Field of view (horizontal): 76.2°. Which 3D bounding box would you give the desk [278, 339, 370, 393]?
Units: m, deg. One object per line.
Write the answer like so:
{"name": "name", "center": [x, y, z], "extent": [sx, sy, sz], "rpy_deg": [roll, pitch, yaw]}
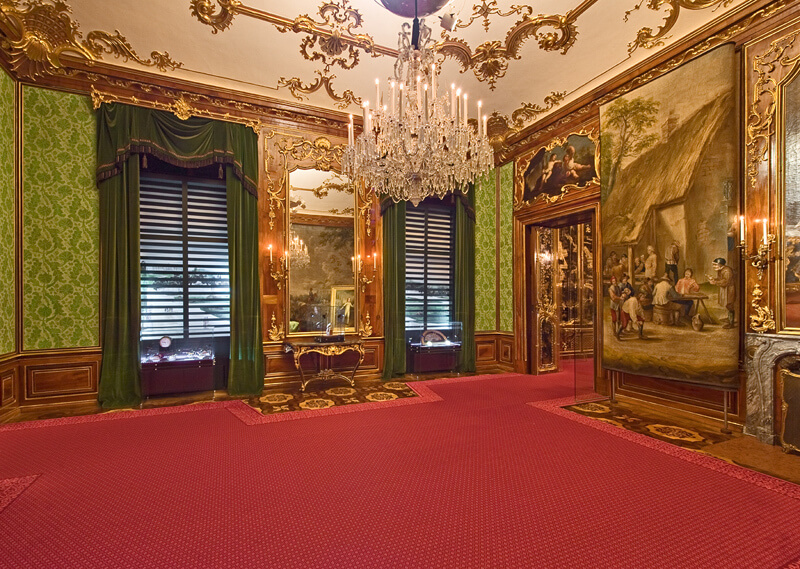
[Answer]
{"name": "desk", "center": [-1.005, 1.082, 7.390], "extent": [1.113, 0.703, 0.629], "rpy_deg": [-1, 10, -13]}

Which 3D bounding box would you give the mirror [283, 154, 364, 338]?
{"name": "mirror", "center": [-1.153, -0.354, 7.602], "extent": [1.111, 2.819, 0.137], "rpy_deg": [-5, 32, -18]}

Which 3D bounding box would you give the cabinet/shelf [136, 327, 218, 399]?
{"name": "cabinet/shelf", "center": [-3.001, 1.060, 6.736], "extent": [0.804, 0.791, 0.288], "rpy_deg": [3, -14, -28]}

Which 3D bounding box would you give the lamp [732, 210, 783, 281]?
{"name": "lamp", "center": [3.807, -0.397, 5.441], "extent": [0.139, 0.675, 0.432], "rpy_deg": [-6, 13, -25]}

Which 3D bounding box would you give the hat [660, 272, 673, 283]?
{"name": "hat", "center": [3.192, -0.072, 6.055], "extent": [0.083, 0.106, 0.098], "rpy_deg": [0, 2, -5]}

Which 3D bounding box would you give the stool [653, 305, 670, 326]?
{"name": "stool", "center": [3.148, 0.358, 6.086], "extent": [0.182, 0.359, 0.185], "rpy_deg": [-4, -5, 40]}
